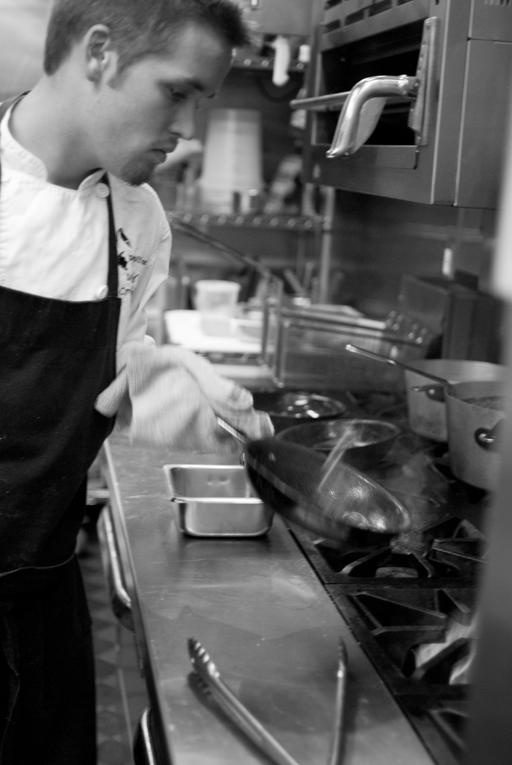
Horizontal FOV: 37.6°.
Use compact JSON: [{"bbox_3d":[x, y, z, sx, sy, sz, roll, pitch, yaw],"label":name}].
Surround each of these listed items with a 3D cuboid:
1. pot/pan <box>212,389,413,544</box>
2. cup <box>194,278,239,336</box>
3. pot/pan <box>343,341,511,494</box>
[{"bbox_3d":[0.068,0.128,0.907,0.095,0.079,0.274,-10,14,-32],"label":"pot/pan"},{"bbox_3d":[-0.125,-0.240,2.439,0.174,0.177,0.172,3,10,0],"label":"cup"},{"bbox_3d":[0.324,0.048,1.298,0.228,0.113,0.307,-5,9,-37],"label":"pot/pan"}]
